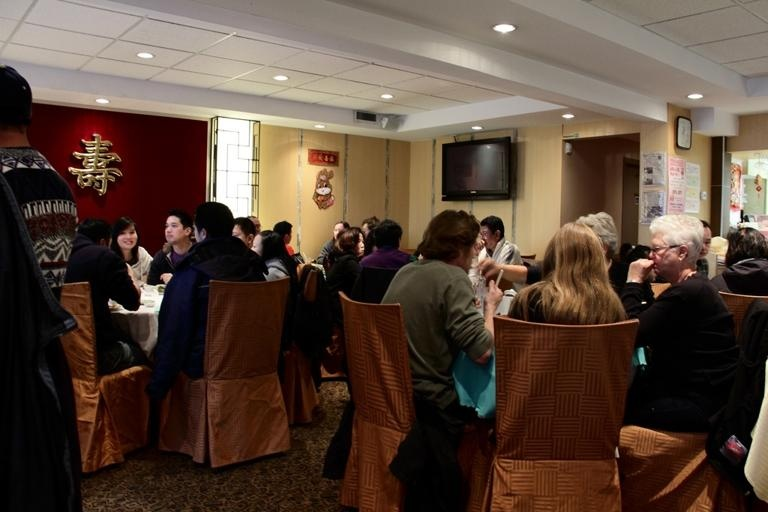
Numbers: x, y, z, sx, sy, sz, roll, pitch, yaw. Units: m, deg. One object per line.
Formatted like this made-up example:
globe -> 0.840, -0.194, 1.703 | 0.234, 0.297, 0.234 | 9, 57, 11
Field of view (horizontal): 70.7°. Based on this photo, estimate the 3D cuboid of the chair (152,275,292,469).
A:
chair -> -1.036, 0.720, 3.640 | 0.811, 1.078, 0.805 | -1, -2, -24

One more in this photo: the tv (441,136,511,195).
tv -> 1.572, -1.497, 8.945 | 1.007, 0.811, 0.110 | 2, 4, 41

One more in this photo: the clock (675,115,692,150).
clock -> 4.147, -1.700, 7.480 | 0.433, 0.430, 0.048 | 0, 1, -39
